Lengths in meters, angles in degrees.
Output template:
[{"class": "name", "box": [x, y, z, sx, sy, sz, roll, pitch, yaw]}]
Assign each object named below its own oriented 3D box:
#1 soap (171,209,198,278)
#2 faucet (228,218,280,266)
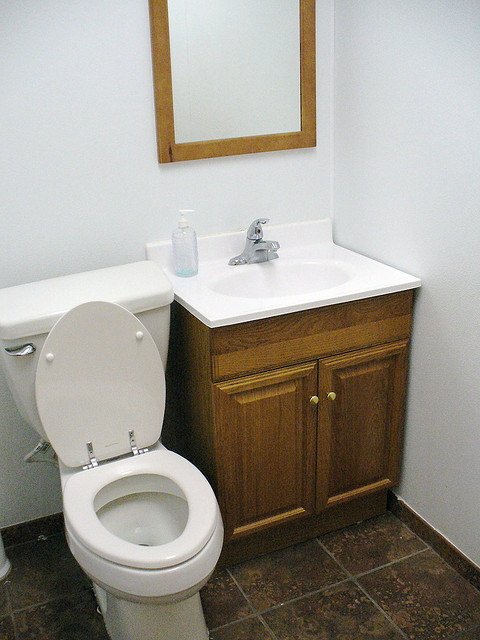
[{"class": "soap", "box": [-0.163, -0.203, 1.563, 0.050, 0.220, 0.069, -18, 33, -36]}, {"class": "faucet", "box": [0.050, -0.249, 1.639, 0.146, 0.155, 0.157, -8, 23, -23]}]
